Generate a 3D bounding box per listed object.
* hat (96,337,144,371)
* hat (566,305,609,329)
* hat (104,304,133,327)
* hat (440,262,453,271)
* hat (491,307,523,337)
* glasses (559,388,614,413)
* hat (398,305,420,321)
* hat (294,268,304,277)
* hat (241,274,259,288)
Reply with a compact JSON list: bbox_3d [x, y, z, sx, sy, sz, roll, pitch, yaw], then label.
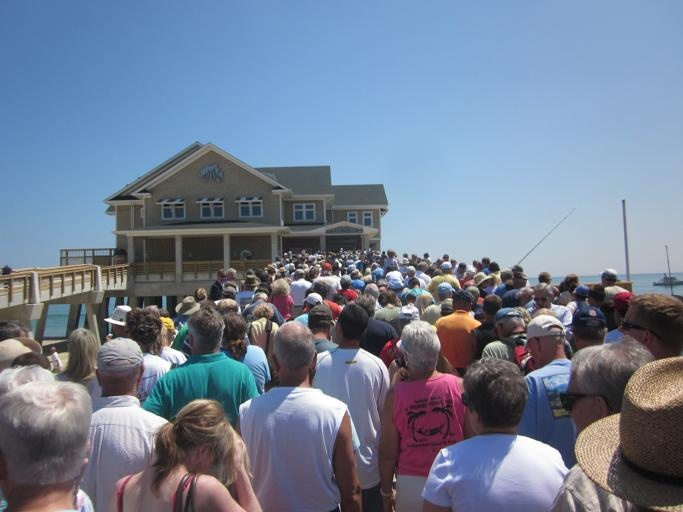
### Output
[{"bbox_3d":[-1.755,0.784,4.505,0.333,0.252,0.180,3,-4,-26],"label":"hat"},{"bbox_3d":[2.191,0.549,5.090,0.260,0.185,0.417,2,-1,18],"label":"hat"},{"bbox_3d":[-2.529,0.738,6.413,0.329,0.161,0.398,18,3,-22],"label":"hat"},{"bbox_3d":[2.370,0.230,12.952,0.285,0.157,0.457,-1,5,12],"label":"hat"},{"bbox_3d":[1.847,0.725,6.354,0.242,0.367,0.350,0,16,5],"label":"hat"},{"bbox_3d":[1.630,0.994,3.916,0.208,0.077,0.212,6,-16,17],"label":"glasses"},{"bbox_3d":[0.794,0.689,6.789,0.296,0.207,0.469,2,4,4],"label":"hat"},{"bbox_3d":[-0.890,0.337,12.028,0.134,0.142,0.171,0,-5,-14],"label":"hat"},{"bbox_3d":[-1.850,0.503,11.296,0.273,0.129,0.319,-1,21,-35],"label":"hat"}]
